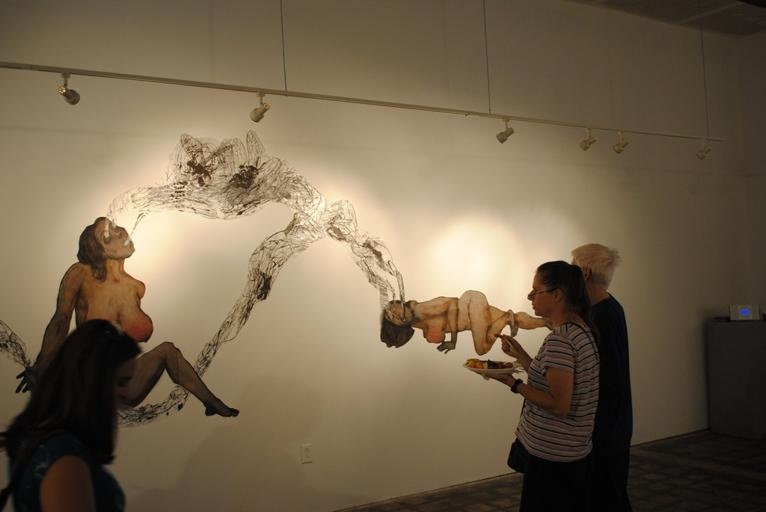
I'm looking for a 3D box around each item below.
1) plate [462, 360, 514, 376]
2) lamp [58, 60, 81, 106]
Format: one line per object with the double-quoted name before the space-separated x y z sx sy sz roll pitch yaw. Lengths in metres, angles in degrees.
"plate" 0.902 0.911 5.084 0.254 0.055 0.198 -2 -2 39
"lamp" -2.629 -1.472 5.226 0.162 0.372 0.729 3 -9 -27
